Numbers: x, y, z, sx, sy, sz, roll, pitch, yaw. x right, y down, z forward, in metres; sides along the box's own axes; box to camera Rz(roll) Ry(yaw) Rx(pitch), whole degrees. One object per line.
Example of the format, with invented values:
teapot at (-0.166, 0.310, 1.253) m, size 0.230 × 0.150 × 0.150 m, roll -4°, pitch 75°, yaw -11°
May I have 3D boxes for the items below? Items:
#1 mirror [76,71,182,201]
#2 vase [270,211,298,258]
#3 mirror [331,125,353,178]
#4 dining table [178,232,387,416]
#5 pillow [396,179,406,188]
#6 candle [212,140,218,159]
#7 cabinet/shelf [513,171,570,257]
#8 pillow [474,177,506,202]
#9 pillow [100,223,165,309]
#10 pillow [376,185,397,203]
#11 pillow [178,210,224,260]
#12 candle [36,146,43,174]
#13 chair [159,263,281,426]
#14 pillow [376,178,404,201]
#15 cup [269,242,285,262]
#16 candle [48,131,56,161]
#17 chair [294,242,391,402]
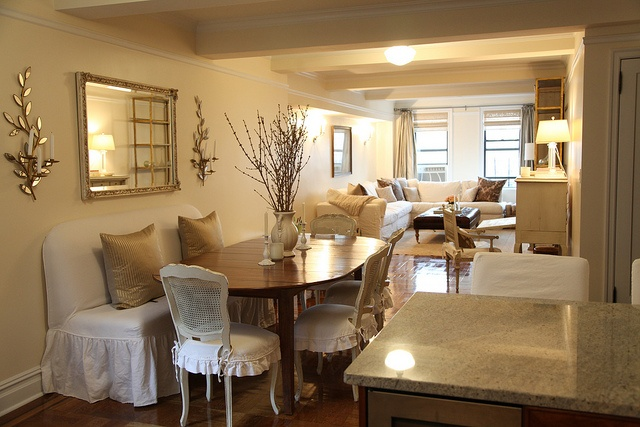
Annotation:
mirror at (-1.949, -0.765, 4.622) m, size 0.047 × 1.147 × 1.384 m, roll 7°, pitch 10°, yaw 19°
vase at (-0.350, 0.188, 4.238) m, size 0.278 × 0.398 × 0.330 m, roll 8°, pitch 11°, yaw 27°
mirror at (0.478, -1.455, 10.450) m, size 0.057 × 1.071 × 1.394 m, roll 0°, pitch 3°, yaw 19°
dining table at (-0.336, 0.598, 3.890) m, size 1.285 × 0.934 × 1.945 m, roll 1°, pitch 6°, yaw 23°
pillow at (2.091, -0.768, 11.505) m, size 0.115 × 0.204 × 0.223 m, roll -31°, pitch -3°, yaw 28°
candle at (-1.374, -0.818, 5.754) m, size 0.026 × 0.223 × 0.096 m, roll -2°, pitch 7°, yaw 21°
cabinet/shelf at (3.281, 0.017, 6.358) m, size 0.863 × 1.481 × 1.197 m, roll 0°, pitch 3°, yaw 21°
pillow at (4.229, -0.573, 11.032) m, size 0.628 × 0.692 × 0.301 m, roll 2°, pitch -30°, yaw 34°
pillow at (-1.706, 0.491, 3.978) m, size 0.355 × 0.627 × 0.688 m, roll 0°, pitch 7°, yaw 25°
pillow at (1.584, -0.469, 10.645) m, size 0.440 × 0.383 × 0.135 m, roll 0°, pitch -6°, yaw -31°
pillow at (-1.311, 0.243, 4.939) m, size 0.214 × 0.443 × 0.582 m, roll 3°, pitch 7°, yaw 26°
candle at (-2.380, -0.449, 3.752) m, size 0.061 × 0.231 × 0.148 m, roll -9°, pitch 8°, yaw -32°
chair at (-0.705, 0.906, 3.281) m, size 0.782 × 1.183 × 0.392 m, roll -7°, pitch 7°, yaw -19°
pillow at (1.734, -0.592, 11.222) m, size 0.181 × 0.568 × 0.620 m, roll -18°, pitch -13°, yaw 32°
cup at (-0.395, 0.343, 4.019) m, size 0.164 × 0.142 × 0.123 m, roll -1°, pitch -2°, yaw -18°
candle at (-2.309, -0.564, 3.802) m, size 0.058 × 0.229 × 0.208 m, roll -8°, pitch 8°, yaw -30°
chair at (0.098, 0.808, 4.201) m, size 1.160 × 1.543 × 1.061 m, roll 1°, pitch 2°, yaw 12°
